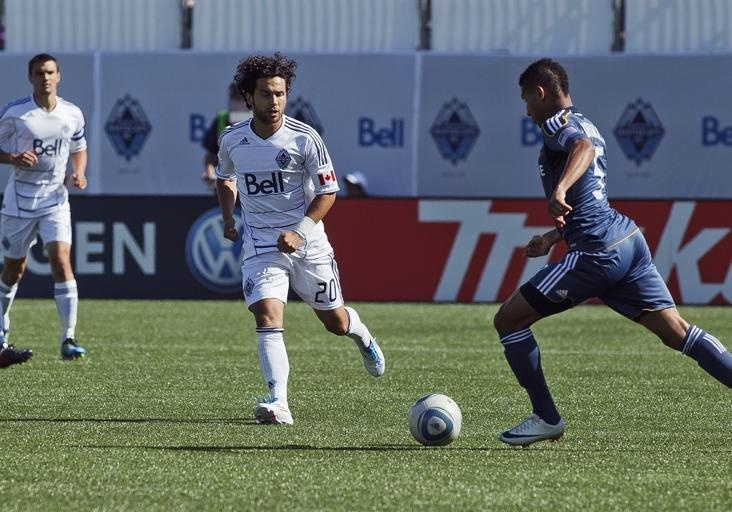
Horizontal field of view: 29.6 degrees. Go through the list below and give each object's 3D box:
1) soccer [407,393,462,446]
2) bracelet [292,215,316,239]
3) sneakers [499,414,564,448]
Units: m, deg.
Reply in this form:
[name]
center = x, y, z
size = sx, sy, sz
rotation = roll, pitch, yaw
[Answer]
[soccer]
center = 0.591, 1.423, 11.918
size = 0.448, 0.402, 0.249
rotation = 1, 13, 1
[bracelet]
center = -0.557, -0.265, 12.425
size = 0.116, 0.172, 0.124
rotation = 32, -29, 4
[sneakers]
center = 1.428, 1.501, 11.866
size = 0.589, 0.250, 0.202
rotation = -4, 7, -14
